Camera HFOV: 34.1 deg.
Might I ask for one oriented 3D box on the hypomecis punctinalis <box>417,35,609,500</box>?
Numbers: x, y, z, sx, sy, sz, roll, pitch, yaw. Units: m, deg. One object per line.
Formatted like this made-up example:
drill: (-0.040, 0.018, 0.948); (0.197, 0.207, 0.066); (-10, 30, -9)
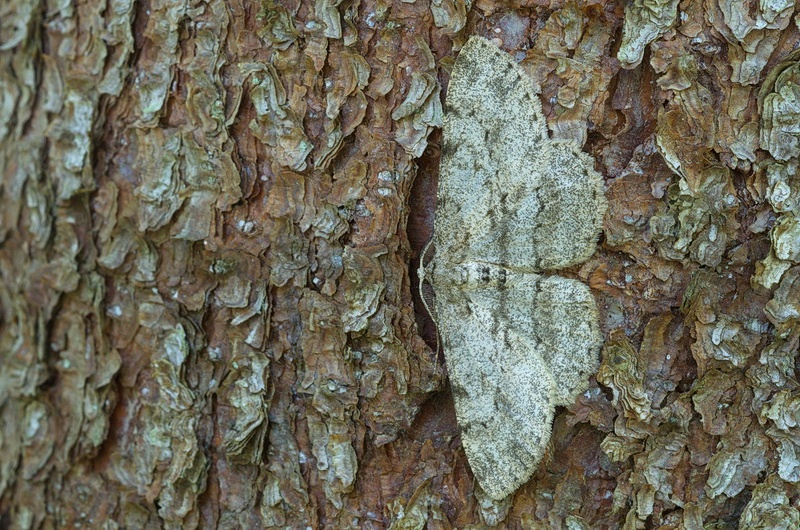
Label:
hypomecis punctinalis: (0.284, 0.030, 3.175); (0.462, 0.160, 1.059); (10, 84, 0)
